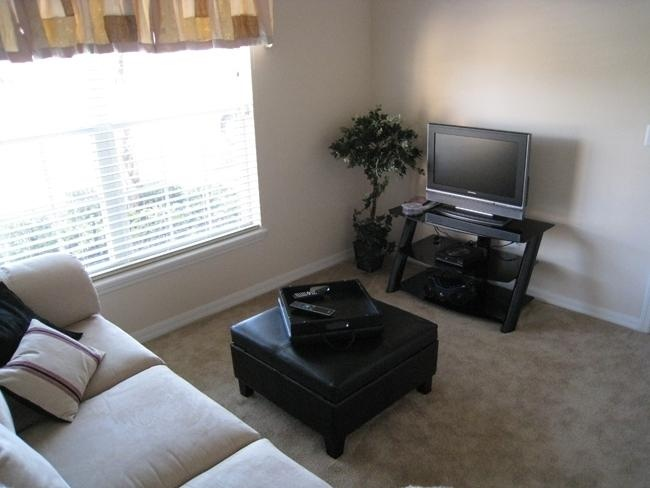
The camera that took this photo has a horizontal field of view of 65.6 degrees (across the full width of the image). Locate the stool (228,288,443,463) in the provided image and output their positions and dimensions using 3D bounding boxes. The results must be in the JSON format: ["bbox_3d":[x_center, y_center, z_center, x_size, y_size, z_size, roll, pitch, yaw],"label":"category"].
[{"bbox_3d":[-0.018,0.567,2.833,0.907,0.504,0.963,18,29,41],"label":"stool"}]

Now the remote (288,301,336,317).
[{"bbox_3d":[-0.071,0.324,2.829,0.272,0.041,0.089,12,37,23],"label":"remote"}]

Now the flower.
[{"bbox_3d":[0.400,-0.697,4.599,0.893,1.224,1.099,-2,25,-3],"label":"flower"}]

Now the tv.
[{"bbox_3d":[1.138,-0.506,3.647,0.711,0.533,0.076,15,25,42],"label":"tv"}]

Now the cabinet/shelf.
[{"bbox_3d":[1.024,0.149,3.826,0.965,0.639,0.471,16,20,22],"label":"cabinet/shelf"}]
